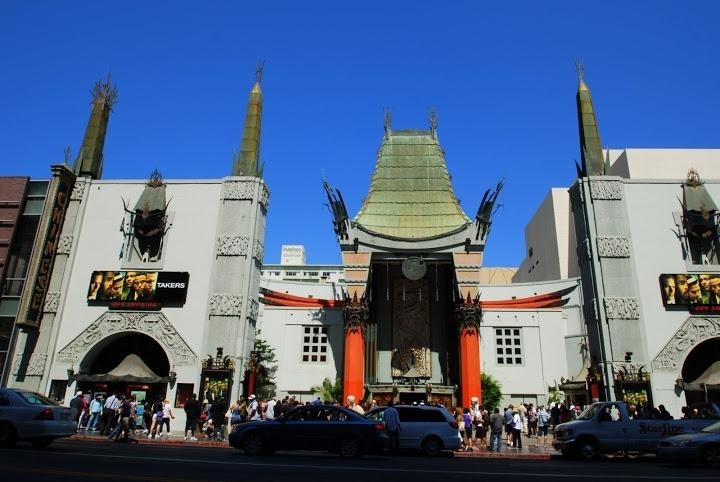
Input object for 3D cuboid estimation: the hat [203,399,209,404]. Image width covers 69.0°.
[{"bbox_3d":[-9.454,9.824,32.024,0.230,0.203,0.229,1,-1,4],"label":"hat"}]
